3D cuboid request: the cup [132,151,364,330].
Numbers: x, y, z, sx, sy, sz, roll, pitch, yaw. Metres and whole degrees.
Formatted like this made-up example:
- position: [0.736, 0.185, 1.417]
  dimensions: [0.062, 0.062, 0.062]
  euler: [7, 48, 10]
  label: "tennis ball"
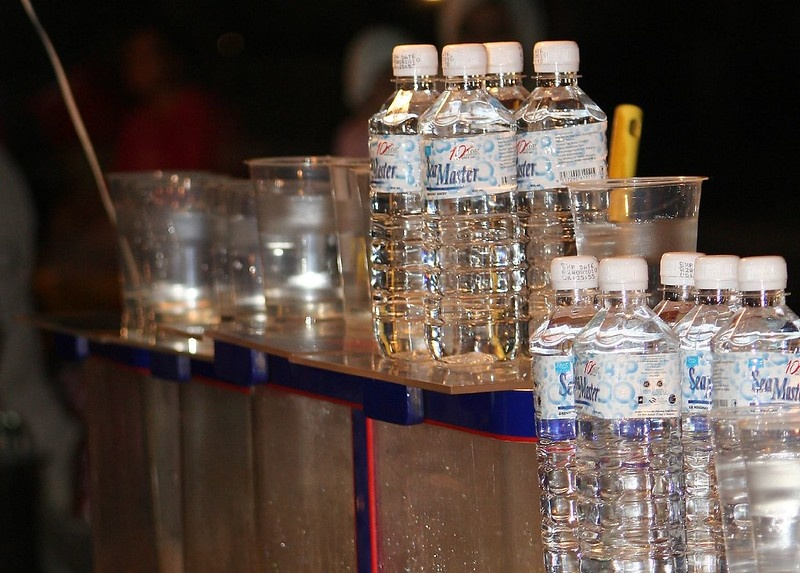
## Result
- position: [-0.217, -0.077, 1.647]
  dimensions: [0.289, 0.275, 0.287]
  euler: [-1, -4, 0]
  label: "cup"
